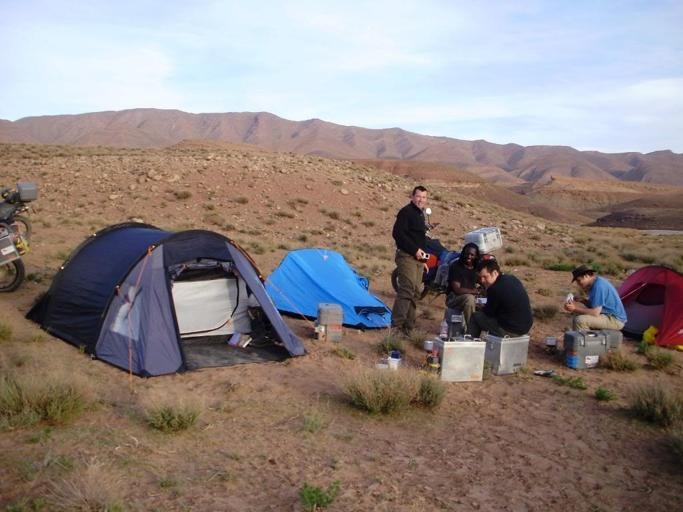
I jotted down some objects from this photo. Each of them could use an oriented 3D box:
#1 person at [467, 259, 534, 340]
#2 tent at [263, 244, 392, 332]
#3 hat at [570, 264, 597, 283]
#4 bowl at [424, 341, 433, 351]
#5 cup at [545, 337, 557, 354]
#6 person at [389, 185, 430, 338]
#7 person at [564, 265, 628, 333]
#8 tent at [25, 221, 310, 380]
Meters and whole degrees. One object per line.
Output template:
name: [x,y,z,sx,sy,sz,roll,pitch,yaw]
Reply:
person: [2.850,0.909,9.199,0.913,1.619,1.205,-10,15,-34]
tent: [-0.256,0.737,11.757,2.263,0.747,1.872,17,14,40]
hat: [5.525,0.401,11.802,0.487,0.213,0.545,-21,-16,-12]
bowl: [1.444,1.448,8.421,0.114,0.171,0.200,-2,5,-28]
cup: [4.129,1.740,10.196,0.264,0.246,0.259,1,6,0]
person: [1.376,0.090,10.216,0.687,2.885,0.904,0,9,8]
person: [4.759,0.792,9.819,1.171,1.212,0.534,-3,9,-12]
tent: [-3.450,0.809,9.450,4.019,1.436,2.871,15,15,40]
